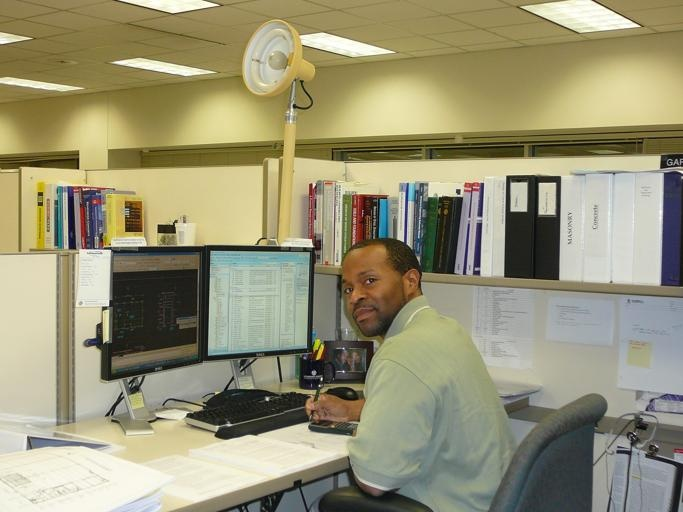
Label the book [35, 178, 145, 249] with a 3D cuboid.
[{"bbox_3d":[-1.469,-0.242,3.146,0.479,0.428,0.268,1,1,5],"label":"book"}]

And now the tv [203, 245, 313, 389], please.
[{"bbox_3d":[-0.327,0.215,2.081,0.652,0.516,0.067,0,1,-36],"label":"tv"}]

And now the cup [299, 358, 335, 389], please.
[{"bbox_3d":[-0.108,0.500,2.279,0.164,0.107,0.100,2,-3,-31],"label":"cup"}]

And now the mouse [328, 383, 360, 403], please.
[{"bbox_3d":[0.015,0.539,2.102,0.112,0.037,0.061,8,4,-15],"label":"mouse"}]

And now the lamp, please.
[{"bbox_3d":[-0.273,-0.599,2.397,0.328,1.070,0.503,-2,3,-4],"label":"lamp"}]
